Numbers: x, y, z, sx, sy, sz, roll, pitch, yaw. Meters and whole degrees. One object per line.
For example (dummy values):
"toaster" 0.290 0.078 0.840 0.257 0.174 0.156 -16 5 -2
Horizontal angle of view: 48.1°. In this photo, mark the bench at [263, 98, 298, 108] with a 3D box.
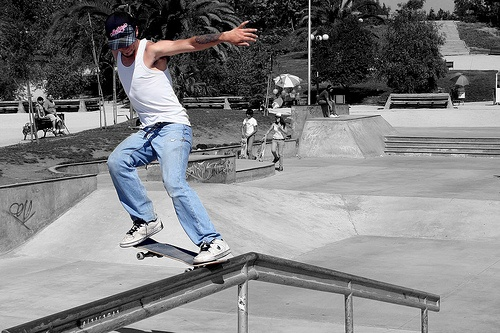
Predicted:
"bench" 2.710 -5.273 45.461 2.250 0.819 8.999 -2 7 5

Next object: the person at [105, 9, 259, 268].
"person" -1.039 -0.479 6.579 1.362 2.805 0.715 1 8 25

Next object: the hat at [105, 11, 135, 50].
"hat" -1.540 -1.656 6.716 0.373 0.477 0.263 -3 7 -2

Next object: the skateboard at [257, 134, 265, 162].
"skateboard" 0.474 -0.709 20.593 0.275 0.978 0.351 8 0 44

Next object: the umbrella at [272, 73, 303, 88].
"umbrella" 2.708 -6.296 40.289 1.624 0.971 2.319 -1 7 12

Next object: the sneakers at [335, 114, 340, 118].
"sneakers" 4.153 -2.483 26.935 0.378 0.165 0.120 -4 18 -9

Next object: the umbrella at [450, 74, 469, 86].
"umbrella" 17.448 -7.340 46.799 1.194 1.110 2.595 0 7 19
